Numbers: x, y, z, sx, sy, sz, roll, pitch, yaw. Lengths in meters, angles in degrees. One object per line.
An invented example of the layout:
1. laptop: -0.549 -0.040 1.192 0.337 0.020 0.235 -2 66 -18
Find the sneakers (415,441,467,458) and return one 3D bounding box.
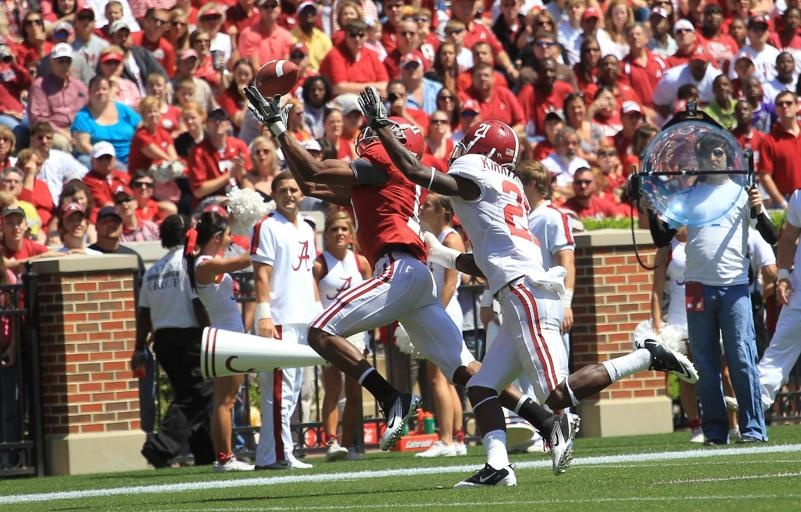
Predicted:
1. sneakers: 0.499 2.352 22.297 0.669 0.254 0.221 1 -4 -8

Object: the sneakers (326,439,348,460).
1. sneakers: -0.770 2.337 22.176 0.269 0.255 0.288 -2 -7 -3

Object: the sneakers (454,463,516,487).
1. sneakers: 0.882 2.323 19.390 0.702 0.269 0.234 0 -6 4

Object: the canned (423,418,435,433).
1. canned: 0.372 2.154 23.302 0.163 0.202 0.129 -1 -8 -15

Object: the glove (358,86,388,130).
1. glove: -0.290 -1.586 19.545 0.280 0.468 0.117 -18 1 16

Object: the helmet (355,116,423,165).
1. helmet: -0.123 -1.357 20.245 0.617 0.471 0.470 26 -15 14

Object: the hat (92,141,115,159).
1. hat: -4.043 -1.442 24.921 0.285 0.277 0.268 -1 -8 -10

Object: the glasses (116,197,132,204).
1. glasses: -3.639 -0.726 24.173 0.129 0.090 0.207 3 -8 -14

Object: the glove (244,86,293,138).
1. glove: -1.425 -1.530 19.944 0.423 0.608 0.281 -27 -11 -21

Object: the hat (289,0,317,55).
1. hat: -1.475 -3.575 28.414 0.516 0.710 0.613 3 -9 -7
